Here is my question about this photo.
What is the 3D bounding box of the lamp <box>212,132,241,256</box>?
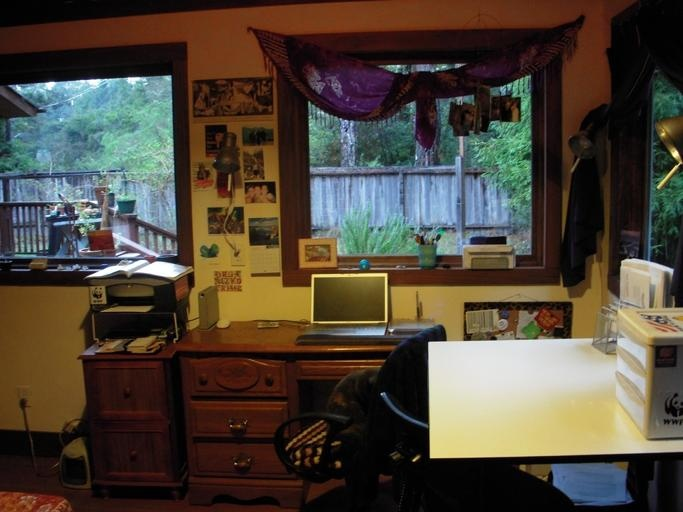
[{"bbox_3d":[-0.774,-0.417,4.077,0.172,0.853,0.193,-3,4,-11],"label":"lamp"}]

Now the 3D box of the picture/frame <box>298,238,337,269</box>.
[{"bbox_3d":[-0.169,-0.018,4.176,0.210,0.170,0.008,0,3,-1],"label":"picture/frame"}]

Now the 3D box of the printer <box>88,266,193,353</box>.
[{"bbox_3d":[-1.283,0.297,4.098,0.813,0.755,0.503,0,0,0],"label":"printer"}]

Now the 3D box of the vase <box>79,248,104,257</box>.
[{"bbox_3d":[-1.838,-0.026,4.403,0.181,0.062,0.035,-1,4,13],"label":"vase"}]

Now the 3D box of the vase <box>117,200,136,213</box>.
[{"bbox_3d":[-1.568,-0.356,4.371,0.104,0.078,0.104,-1,-2,-5],"label":"vase"}]

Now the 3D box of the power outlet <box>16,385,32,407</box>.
[{"bbox_3d":[-2.314,1.021,4.372,0.103,0.147,0.018,-1,4,11],"label":"power outlet"}]

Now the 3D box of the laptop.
[{"bbox_3d":[0.056,0.312,3.980,0.571,0.389,0.353,0,0,4],"label":"laptop"}]

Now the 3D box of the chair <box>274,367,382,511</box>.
[{"bbox_3d":[-0.087,0.950,3.374,0.649,0.816,0.706,1,4,14],"label":"chair"}]

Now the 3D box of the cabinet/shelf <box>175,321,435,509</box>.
[{"bbox_3d":[-0.277,0.820,4.180,2.040,1.351,0.990,0,3,2],"label":"cabinet/shelf"}]
